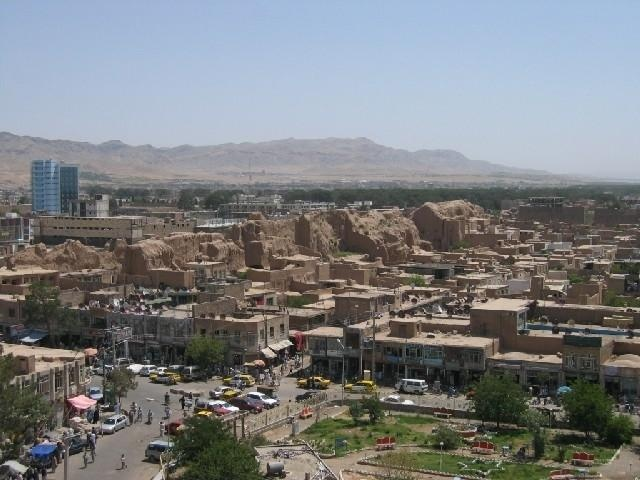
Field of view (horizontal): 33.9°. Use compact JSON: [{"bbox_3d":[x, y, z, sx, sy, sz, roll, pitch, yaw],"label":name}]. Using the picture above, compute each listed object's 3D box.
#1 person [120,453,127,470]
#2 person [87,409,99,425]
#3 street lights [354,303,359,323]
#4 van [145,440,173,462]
[{"bbox_3d":[-11.743,13.231,63.314,0.405,0.701,1.261,1,-1,-11],"label":"person"},{"bbox_3d":[-14.827,11.587,69.234,0.631,0.819,0.879,1,-10,-4],"label":"person"},{"bbox_3d":[3.014,5.889,85.429,0.422,0.986,0.150,0,0,36],"label":"street lights"},{"bbox_3d":[-9.827,12.942,64.069,2.140,1.017,1.285,-2,8,1],"label":"van"}]
